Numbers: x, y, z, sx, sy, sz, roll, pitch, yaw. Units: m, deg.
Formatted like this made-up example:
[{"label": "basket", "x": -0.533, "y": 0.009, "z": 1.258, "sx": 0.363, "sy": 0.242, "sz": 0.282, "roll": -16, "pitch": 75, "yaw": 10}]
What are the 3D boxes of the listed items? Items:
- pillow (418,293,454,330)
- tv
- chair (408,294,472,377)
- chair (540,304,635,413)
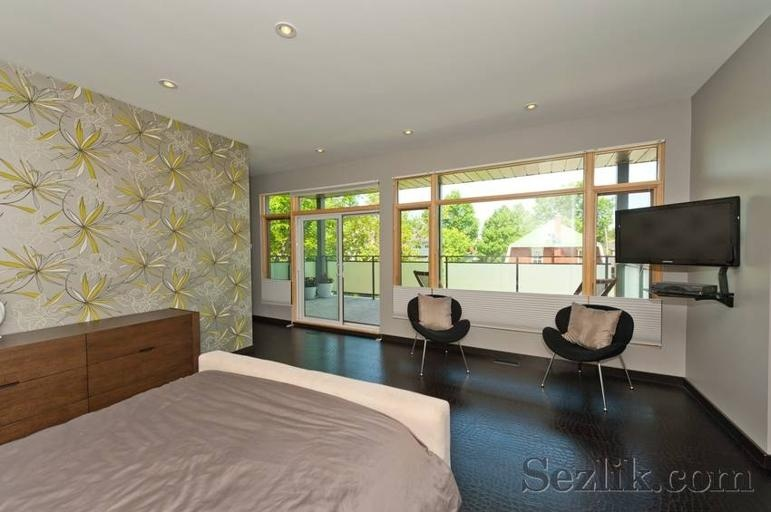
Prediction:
[{"label": "pillow", "x": 0.686, "y": 0.773, "z": 6.363, "sx": 0.474, "sy": 0.428, "sz": 0.157, "roll": 0, "pitch": -31, "yaw": 6}, {"label": "tv", "x": 3.214, "y": -0.242, "z": 5.205, "sx": 0.131, "sy": 0.710, "sz": 1.349, "roll": -1, "pitch": 0, "yaw": -30}, {"label": "chair", "x": 0.707, "y": 1.000, "z": 6.274, "sx": 0.804, "sy": 0.832, "sz": 0.832, "roll": 0, "pitch": 6, "yaw": -15}, {"label": "chair", "x": 2.395, "y": 1.104, "z": 5.496, "sx": 1.013, "sy": 0.974, "sz": 1.058, "roll": 4, "pitch": 9, "yaw": 28}]
